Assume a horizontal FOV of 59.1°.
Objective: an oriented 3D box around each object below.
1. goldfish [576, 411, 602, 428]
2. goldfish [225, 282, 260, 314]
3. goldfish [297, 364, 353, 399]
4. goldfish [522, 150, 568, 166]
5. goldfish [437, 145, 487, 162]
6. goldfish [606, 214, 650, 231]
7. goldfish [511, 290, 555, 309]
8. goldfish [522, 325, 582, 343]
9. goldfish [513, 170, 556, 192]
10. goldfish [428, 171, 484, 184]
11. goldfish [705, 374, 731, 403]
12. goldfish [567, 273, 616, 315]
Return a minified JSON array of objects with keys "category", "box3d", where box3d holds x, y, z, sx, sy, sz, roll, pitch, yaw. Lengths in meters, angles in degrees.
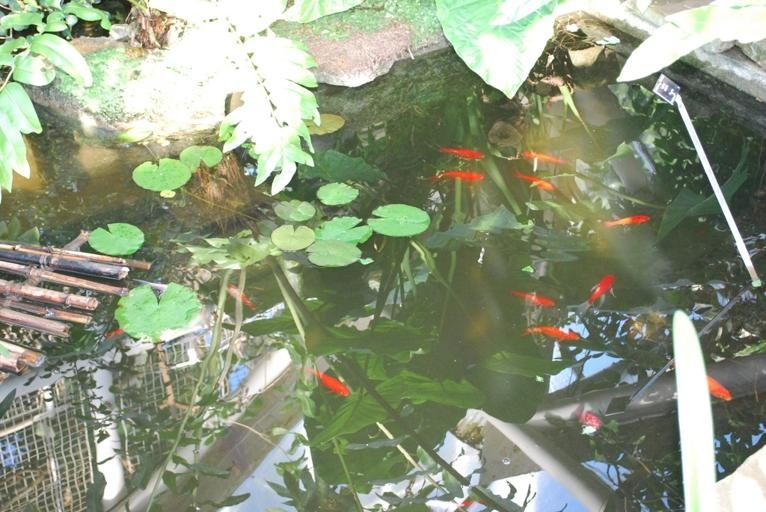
[{"category":"goldfish","box3d":[0.854,0.678,2.817,0.096,0.032,0.063,2,30,17]},{"category":"goldfish","box3d":[-0.646,0.189,3.130,0.155,0.086,0.052,15,37,35]},{"category":"goldfish","box3d":[-0.271,0.545,2.958,0.268,0.071,0.085,28,23,14]},{"category":"goldfish","box3d":[0.893,-0.546,3.789,0.239,0.041,0.092,12,34,32]},{"category":"goldfish","box3d":[0.452,-0.581,3.850,0.213,0.049,0.083,9,3,16]},{"category":"goldfish","box3d":[1.210,-0.164,3.357,0.227,0.047,0.078,-4,70,-7]},{"category":"goldfish","box3d":[0.685,0.195,3.096,0.183,0.060,0.051,1,30,16]},{"category":"goldfish","box3d":[0.751,0.333,3.041,0.300,0.075,0.107,5,21,8]},{"category":"goldfish","box3d":[0.820,-0.397,3.626,0.248,0.072,0.104,20,10,30]},{"category":"goldfish","box3d":[0.398,-0.426,3.668,0.167,0.032,0.065,3,41,10]},{"category":"goldfish","box3d":[1.394,0.559,2.844,0.060,0.021,0.089,-42,70,-16]},{"category":"goldfish","box3d":[0.954,0.177,3.118,0.189,0.174,0.165,1,-11,5]}]
